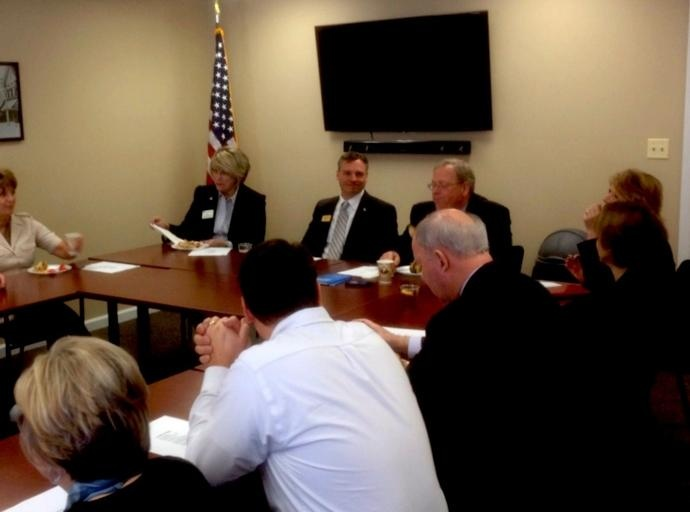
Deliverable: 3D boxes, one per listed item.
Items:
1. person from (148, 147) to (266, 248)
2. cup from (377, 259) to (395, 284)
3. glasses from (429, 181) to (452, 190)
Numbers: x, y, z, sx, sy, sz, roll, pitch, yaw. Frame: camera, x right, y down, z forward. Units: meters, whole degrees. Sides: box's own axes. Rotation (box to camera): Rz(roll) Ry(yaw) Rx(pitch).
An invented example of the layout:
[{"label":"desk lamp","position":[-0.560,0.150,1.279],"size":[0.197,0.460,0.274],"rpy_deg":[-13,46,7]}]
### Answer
[{"label":"person","position":[-1.149,-0.247,4.865],"size":[0.907,1.431,0.774],"rpy_deg":[1,3,6]},{"label":"cup","position":[0.243,0.097,3.385],"size":[0.119,0.141,0.125],"rpy_deg":[-1,-1,0]},{"label":"glasses","position":[0.699,-0.505,3.964],"size":[0.142,0.064,0.028],"rpy_deg":[9,12,32]}]
